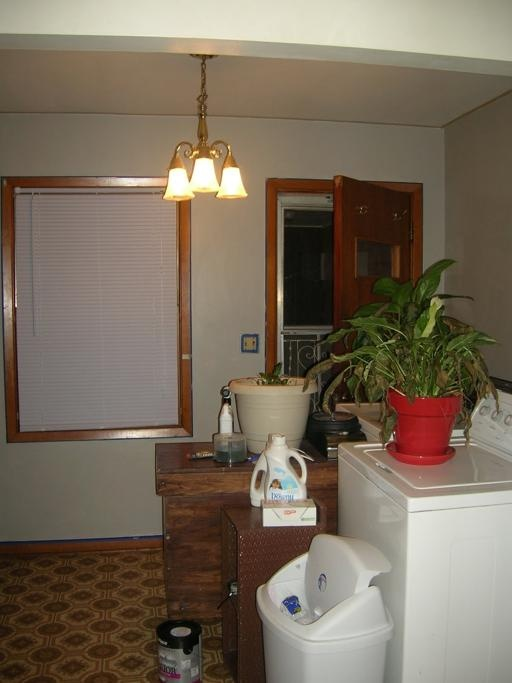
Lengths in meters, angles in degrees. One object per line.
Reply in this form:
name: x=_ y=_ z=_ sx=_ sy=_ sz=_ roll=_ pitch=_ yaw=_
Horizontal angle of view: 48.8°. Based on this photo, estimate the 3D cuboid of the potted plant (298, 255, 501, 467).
potted plant: x=0.427 y=0.076 z=1.748 sx=0.431 sy=0.544 sz=0.535 roll=-16 pitch=8 yaw=-37

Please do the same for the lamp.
lamp: x=-0.199 y=-0.814 z=2.110 sx=0.339 sy=0.520 sz=0.273 roll=-9 pitch=10 yaw=-42

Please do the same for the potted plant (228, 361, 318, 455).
potted plant: x=0.062 y=0.262 z=2.313 sx=0.334 sy=0.252 sz=0.330 roll=-2 pitch=2 yaw=-24

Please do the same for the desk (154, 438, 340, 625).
desk: x=-0.066 y=0.640 z=2.448 sx=0.814 sy=0.792 sz=0.610 roll=-1 pitch=5 yaw=-7

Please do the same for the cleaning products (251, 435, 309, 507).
cleaning products: x=0.073 y=0.440 z=1.853 sx=0.186 sy=0.251 sz=0.084 roll=4 pitch=-31 yaw=1
